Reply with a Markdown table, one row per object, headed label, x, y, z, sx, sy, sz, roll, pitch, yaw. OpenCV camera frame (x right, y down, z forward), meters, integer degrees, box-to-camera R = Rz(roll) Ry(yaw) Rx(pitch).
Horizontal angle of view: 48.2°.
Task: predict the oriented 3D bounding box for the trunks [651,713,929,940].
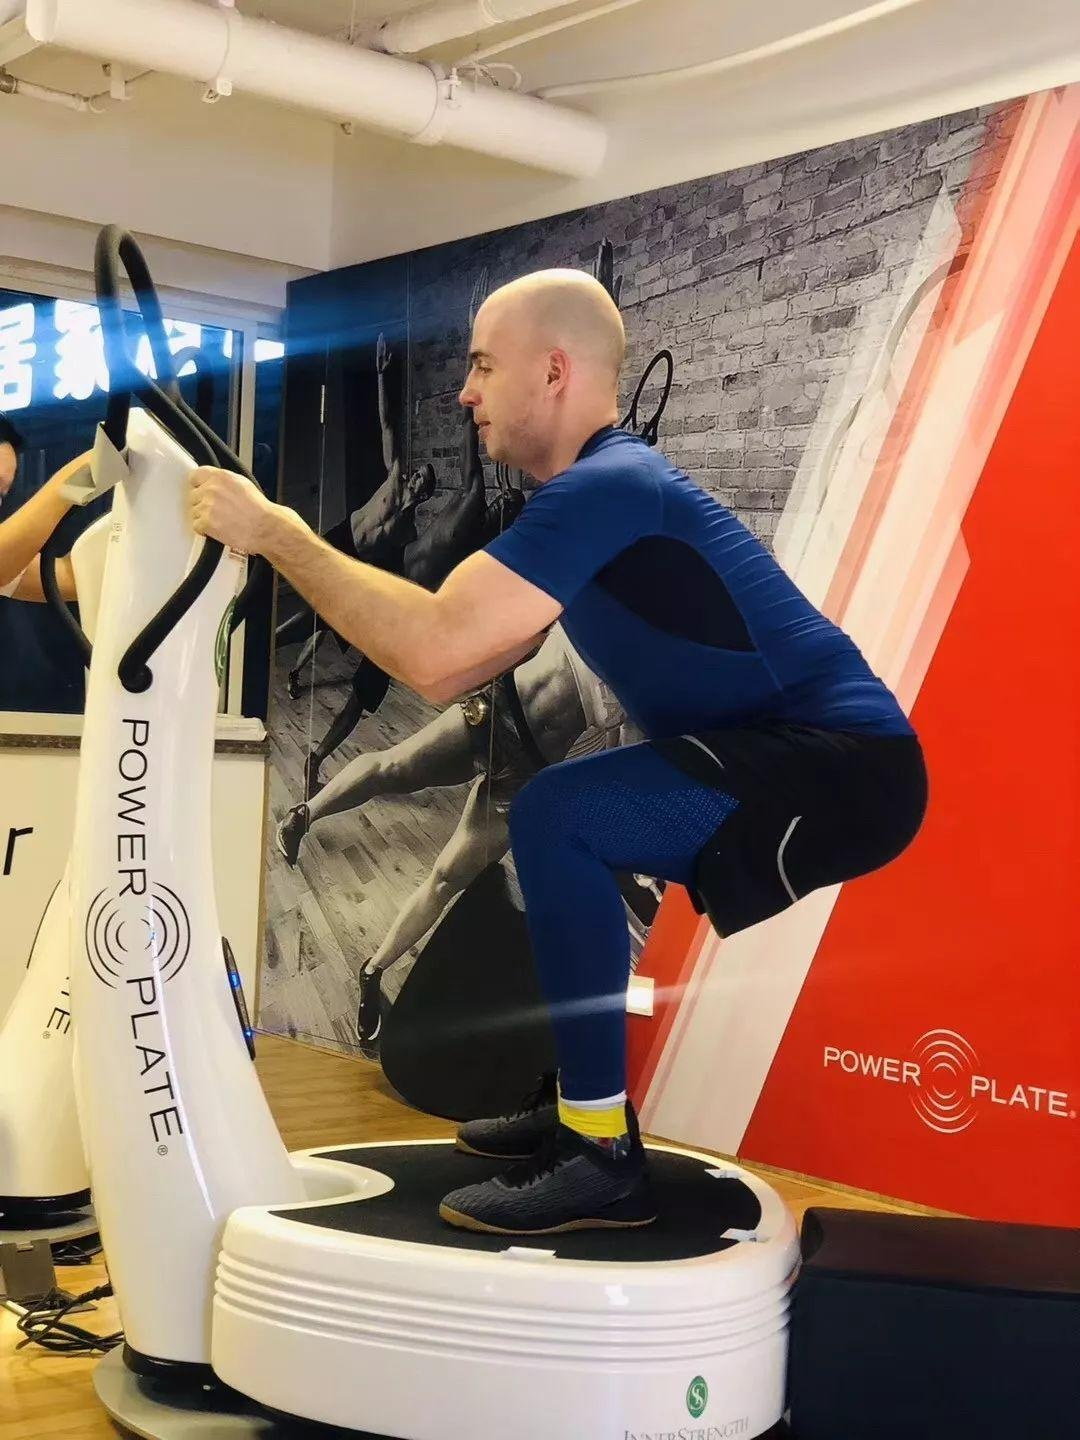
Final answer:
| label | x | y | z | sx | sy | sz | roll | pitch | yaw |
| --- | --- | --- | --- | --- | --- | --- | --- | --- | --- |
| trunks | 0.246 | 0.170 | 1.562 | 0.465 | 0.240 | 0.317 | -4 | -17 | -2 |

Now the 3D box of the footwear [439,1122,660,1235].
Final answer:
| label | x | y | z | sx | sy | sz | roll | pitch | yaw |
| --- | --- | --- | --- | --- | --- | --- | --- | --- | --- |
| footwear | 0.024 | 0.537 | 1.436 | 0.301 | 0.120 | 0.096 | 3 | -3 | -12 |

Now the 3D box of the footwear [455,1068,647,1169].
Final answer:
| label | x | y | z | sx | sy | sz | roll | pitch | yaw |
| --- | --- | --- | --- | --- | --- | --- | --- | --- | --- |
| footwear | -0.035 | 0.580 | 1.717 | 0.370 | 0.149 | 0.117 | -1 | 8 | 2 |

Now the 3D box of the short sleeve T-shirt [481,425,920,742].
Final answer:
| label | x | y | z | sx | sy | sz | roll | pitch | yaw |
| --- | --- | --- | --- | --- | --- | --- | --- | --- | --- |
| short sleeve T-shirt | 0.177 | -0.148 | 1.566 | 0.347 | 0.447 | 0.406 | -18 | 6 | 2 |

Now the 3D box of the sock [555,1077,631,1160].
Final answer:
| label | x | y | z | sx | sy | sz | roll | pitch | yaw |
| --- | --- | --- | --- | --- | --- | --- | --- | --- | --- |
| sock | 0.072 | 0.462 | 1.408 | 0.090 | 0.073 | 0.069 | -2 | 3 | 14 |
